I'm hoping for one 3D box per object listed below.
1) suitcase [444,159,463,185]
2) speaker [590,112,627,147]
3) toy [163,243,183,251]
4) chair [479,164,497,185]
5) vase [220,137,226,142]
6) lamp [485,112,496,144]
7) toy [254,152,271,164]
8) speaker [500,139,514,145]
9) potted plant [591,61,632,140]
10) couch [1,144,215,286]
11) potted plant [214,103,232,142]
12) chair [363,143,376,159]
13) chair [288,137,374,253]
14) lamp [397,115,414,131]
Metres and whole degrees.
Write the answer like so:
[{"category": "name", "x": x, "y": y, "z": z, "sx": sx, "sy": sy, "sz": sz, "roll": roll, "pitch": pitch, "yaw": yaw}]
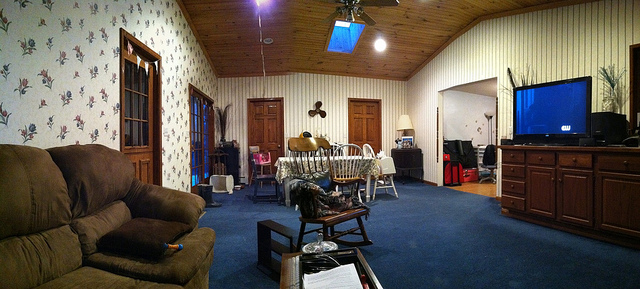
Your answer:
[{"category": "suitcase", "x": 4.022, "y": 0.831, "z": 10.519, "sx": 0.915, "sy": 0.777, "sz": 0.475, "roll": -1, "pitch": 3, "yaw": -30}, {"category": "speaker", "x": 5.950, "y": -0.319, "z": 7.122, "sx": 0.794, "sy": 0.582, "sz": 0.210, "roll": -2, "pitch": 0, "yaw": -14}, {"category": "toy", "x": -2.399, "y": 1.650, "z": 5.641, "sx": 0.174, "sy": 0.058, "sz": 0.159, "roll": 4, "pitch": -4, "yaw": -11}, {"category": "chair", "x": 5.345, "y": 0.937, "z": 10.885, "sx": 0.615, "sy": 0.506, "sz": 0.624, "roll": 0, "pitch": -3, "yaw": -27}, {"category": "vase", "x": -3.009, "y": -0.155, "z": 10.711, "sx": 0.168, "sy": 0.140, "sz": 0.279, "roll": -2, "pitch": 0, "yaw": -16}, {"category": "lamp", "x": 6.229, "y": -0.615, "z": 12.632, "sx": 0.494, "sy": 1.037, "sz": 0.135, "roll": -2, "pitch": 0, "yaw": -37}, {"category": "toy", "x": -1.783, "y": 0.406, "z": 10.744, "sx": 0.499, "sy": 0.367, "sz": 0.523, "roll": -2, "pitch": 0, "yaw": -9}, {"category": "speaker", "x": 4.282, "y": -0.065, "z": 7.918, "sx": 0.252, "sy": 0.104, "sz": 0.166, "roll": -2, "pitch": 0, "yaw": 25}, {"category": "potted plant", "x": 6.142, "y": -0.957, "z": 7.253, "sx": 0.641, "sy": 1.423, "sz": 0.835, "roll": -2, "pitch": 0, "yaw": 32}, {"category": "couch", "x": -3.615, "y": 1.204, "z": 5.718, "sx": 1.612, "sy": 1.596, "sz": 2.660, "roll": -2, "pitch": -4, "yaw": 23}, {"category": "potted plant", "x": -3.047, "y": -0.692, "z": 10.800, "sx": 0.360, "sy": 1.236, "sz": 0.410, "roll": -2, "pitch": 0, "yaw": 22}, {"category": "chair", "x": 1.485, "y": 0.181, "z": 10.058, "sx": 0.424, "sy": 0.480, "sz": 0.406, "roll": 1, "pitch": 2, "yaw": 18}, {"category": "chair", "x": 0.219, "y": 0.923, "z": 6.998, "sx": 1.581, "sy": 2.145, "sz": 1.577, "roll": -2, "pitch": 0, "yaw": -8}, {"category": "lamp", "x": 2.789, "y": -0.712, "z": 11.379, "sx": 0.527, "sy": 0.595, "sz": 0.483, "roll": -8, "pitch": 6, "yaw": -2}]
